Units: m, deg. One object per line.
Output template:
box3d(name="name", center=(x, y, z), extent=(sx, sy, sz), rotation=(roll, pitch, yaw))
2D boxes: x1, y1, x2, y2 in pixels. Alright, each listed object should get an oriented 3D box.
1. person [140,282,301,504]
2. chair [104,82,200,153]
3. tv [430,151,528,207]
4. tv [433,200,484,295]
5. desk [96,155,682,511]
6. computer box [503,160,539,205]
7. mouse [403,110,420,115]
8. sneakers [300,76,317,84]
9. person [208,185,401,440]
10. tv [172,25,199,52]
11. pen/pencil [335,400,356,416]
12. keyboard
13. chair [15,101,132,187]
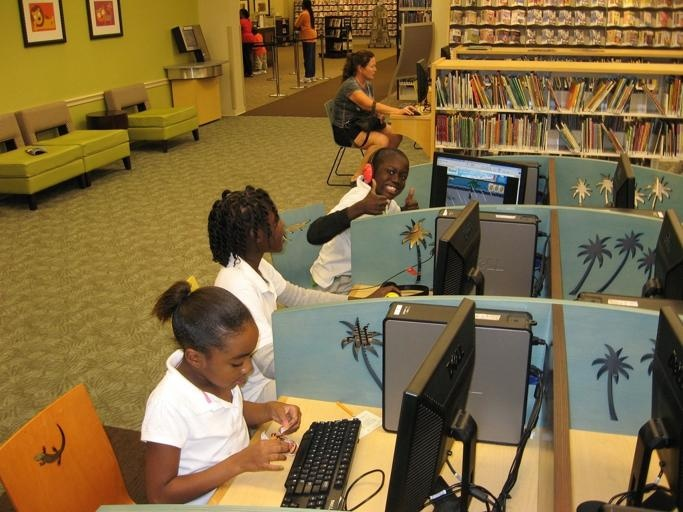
box3d(name="person", center=(-0.382, 0.479, 1.710), extent=(0.457, 0.881, 0.498), rotation=(3, 35, 7))
box3d(name="chair", center=(-3.046, -2.250, 8.456), extent=(1.162, 1.122, 1.196), rotation=(6, 23, 10))
box3d(name="tv", center=(0.809, -0.447, 2.987), extent=(0.451, 0.312, 0.236), rotation=(11, 30, 25))
box3d(name="tv", center=(0.470, -0.026, 1.992), extent=(0.140, 0.324, 0.372), rotation=(7, 22, 21))
box3d(name="desk", center=(0.428, 0.264, 1.784), extent=(1.474, 0.496, 1.074), rotation=(4, 31, 12))
box3d(name="computer box", center=(1.053, -0.470, 3.047), extent=(0.180, 0.283, 0.202), rotation=(11, 57, 23))
box3d(name="mouse", center=(0.911, -1.789, 6.292), extent=(0.119, 0.037, 0.090), rotation=(5, 11, 28))
box3d(name="sneakers", center=(-0.950, -4.988, 14.243), extent=(0.512, 0.252, 0.193), rotation=(5, 12, 21))
box3d(name="person", center=(-0.190, 0.100, 2.481), extent=(0.960, 1.202, 0.884), rotation=(-3, 24, 2))
box3d(name="tv", center=(-3.000, -4.189, 9.658), extent=(0.191, 0.559, 0.487), rotation=(1, 20, 39))
box3d(name="pen/pencil", center=(0.021, 0.584, 1.906), extent=(0.024, 0.017, 0.103), rotation=(-18, 28, -26))
box3d(name="keyboard", center=(-0.060, 0.670, 1.608), extent=(0.128, 0.059, 0.342), rotation=(6, 34, 8))
box3d(name="chair", center=(-3.656, -1.662, 7.040), extent=(1.141, 1.141, 1.136), rotation=(6, 25, 11))
